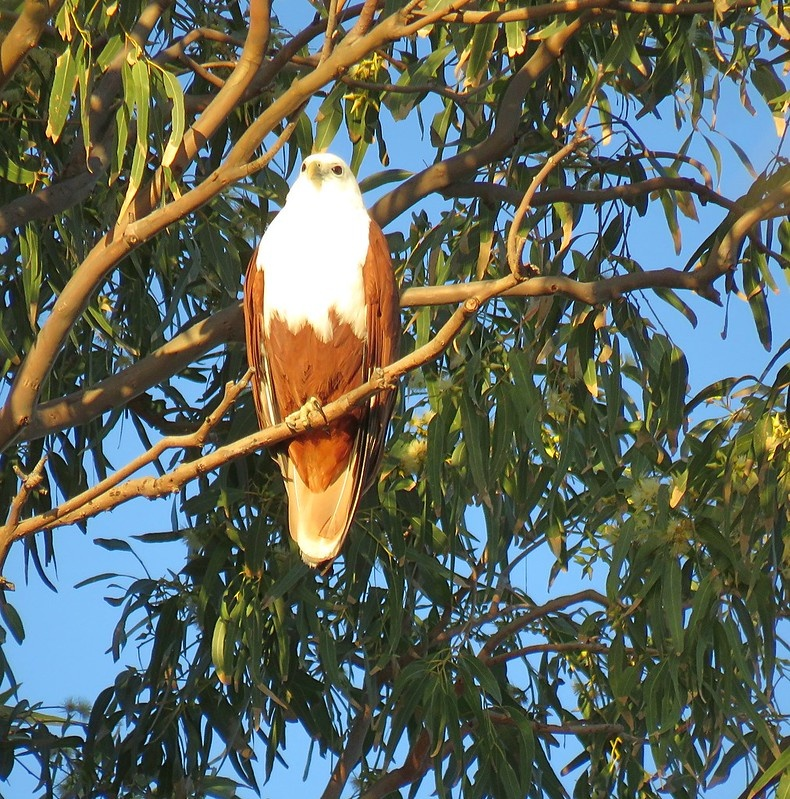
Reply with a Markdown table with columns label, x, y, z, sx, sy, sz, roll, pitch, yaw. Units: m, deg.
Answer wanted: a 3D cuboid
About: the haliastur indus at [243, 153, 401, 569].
| label | x | y | z | sx | sy | sz | roll | pitch | yaw |
| --- | --- | --- | --- | --- | --- | --- | --- | --- | --- |
| haliastur indus | -0.244 | -0.167 | 7.187 | 0.517 | 1.306 | 0.665 | 4 | -45 | -5 |
